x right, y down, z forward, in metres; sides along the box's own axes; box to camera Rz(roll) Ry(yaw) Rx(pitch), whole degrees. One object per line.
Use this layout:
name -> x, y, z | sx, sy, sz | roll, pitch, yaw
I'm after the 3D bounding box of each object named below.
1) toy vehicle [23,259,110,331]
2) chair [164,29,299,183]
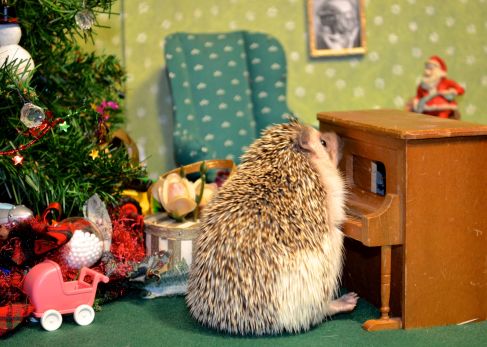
toy vehicle -> -1.020, 0.648, 3.020 | 0.450, 0.398, 0.305 | 2, 4, -31
chair -> -0.053, -0.604, 4.386 | 1.089, 1.746, 0.955 | -4, 3, -13
